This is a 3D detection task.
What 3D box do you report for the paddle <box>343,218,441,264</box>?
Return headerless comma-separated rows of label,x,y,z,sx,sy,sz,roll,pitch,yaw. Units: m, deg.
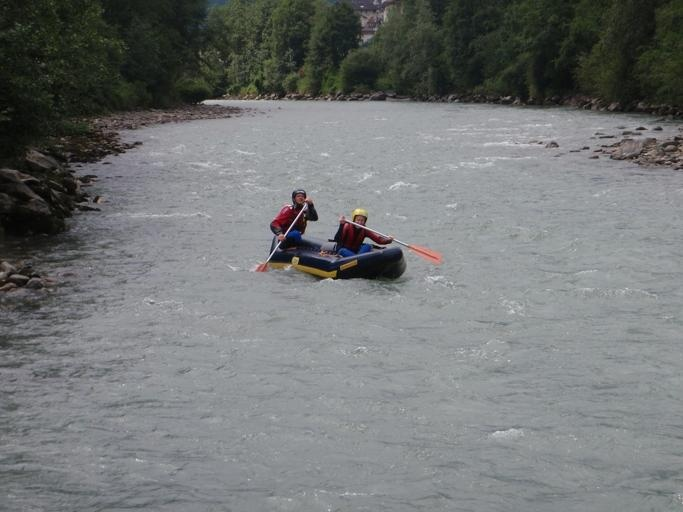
paddle,1.126,-0.352,18.251,2.044,0.076,0.231,24,10,-12
